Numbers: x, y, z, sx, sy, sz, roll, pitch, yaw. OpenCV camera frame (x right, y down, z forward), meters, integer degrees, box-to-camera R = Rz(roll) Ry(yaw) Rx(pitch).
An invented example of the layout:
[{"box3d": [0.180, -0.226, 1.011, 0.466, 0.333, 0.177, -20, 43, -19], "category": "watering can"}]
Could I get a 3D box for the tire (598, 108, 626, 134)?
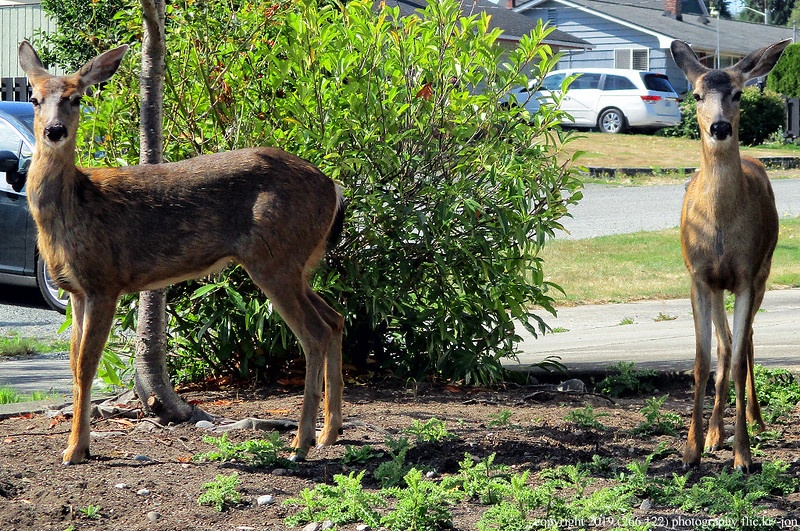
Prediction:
[{"box3d": [6.697, -4.585, 33.541, 0.659, 0.632, 0.217, -31, 3, 27], "category": "tire"}]
